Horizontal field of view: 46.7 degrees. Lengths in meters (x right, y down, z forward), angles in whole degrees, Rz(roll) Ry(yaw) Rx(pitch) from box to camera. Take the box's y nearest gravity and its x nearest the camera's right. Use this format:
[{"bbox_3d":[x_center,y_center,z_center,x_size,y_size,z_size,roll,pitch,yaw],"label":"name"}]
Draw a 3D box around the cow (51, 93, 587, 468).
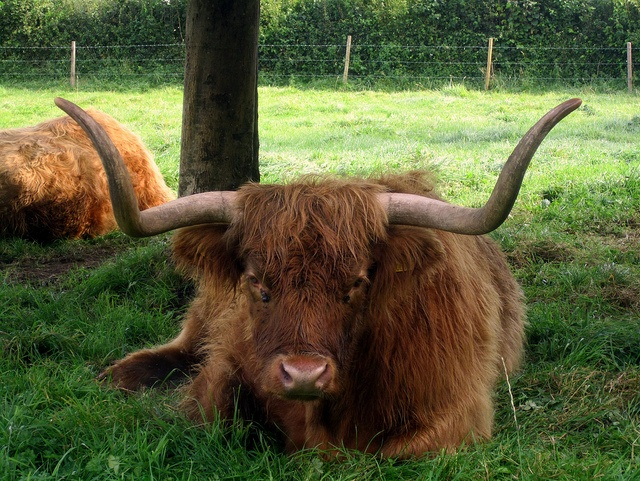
[{"bbox_3d":[0.040,0.328,5.170,2.879,2.244,1.309,2,11,1],"label":"cow"}]
